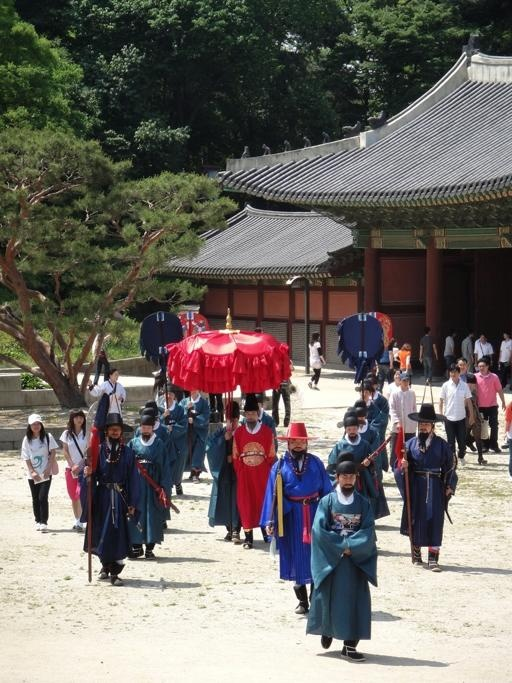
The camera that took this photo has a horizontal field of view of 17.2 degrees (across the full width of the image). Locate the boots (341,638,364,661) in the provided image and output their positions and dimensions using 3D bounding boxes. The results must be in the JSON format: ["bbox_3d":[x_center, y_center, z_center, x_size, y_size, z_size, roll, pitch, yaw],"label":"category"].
[{"bbox_3d":[0.870,2.860,15.504,0.231,0.195,0.097,-1,-2,34],"label":"boots"}]

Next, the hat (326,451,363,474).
[{"bbox_3d":[0.835,1.178,16.143,0.291,0.169,0.396,1,-2,12],"label":"hat"}]

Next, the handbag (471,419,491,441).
[{"bbox_3d":[3.122,1.241,23.517,0.229,0.507,0.356,-1,3,-2],"label":"handbag"}]

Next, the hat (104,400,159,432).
[{"bbox_3d":[-1.374,0.866,18.987,0.501,0.240,0.385,-2,0,-8],"label":"hat"}]

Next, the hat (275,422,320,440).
[{"bbox_3d":[0.469,0.942,16.779,0.320,0.136,0.363,6,-4,-30],"label":"hat"}]

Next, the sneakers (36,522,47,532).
[{"bbox_3d":[-2.468,2.168,19.400,0.125,0.063,0.068,10,1,38],"label":"sneakers"}]

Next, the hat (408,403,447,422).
[{"bbox_3d":[1.986,0.864,19.733,0.285,0.154,0.368,4,6,9],"label":"hat"}]

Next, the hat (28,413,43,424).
[{"bbox_3d":[-2.571,0.932,19.720,0.163,0.170,0.261,-1,-6,-12],"label":"hat"}]

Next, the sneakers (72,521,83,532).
[{"bbox_3d":[-2.058,2.175,19.407,0.129,0.167,0.354,1,-11,-7],"label":"sneakers"}]

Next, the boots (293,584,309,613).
[{"bbox_3d":[0.437,2.550,16.589,0.138,0.278,0.325,0,1,1],"label":"boots"}]

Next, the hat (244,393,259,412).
[{"bbox_3d":[-0.037,0.705,18.741,0.158,0.203,0.170,-1,2,-23],"label":"hat"}]

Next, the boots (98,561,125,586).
[{"bbox_3d":[-1.514,2.437,17.539,0.121,0.190,0.402,6,-15,-16],"label":"boots"}]

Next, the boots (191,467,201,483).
[{"bbox_3d":[-0.806,1.807,22.335,0.080,0.182,0.246,2,-11,0],"label":"boots"}]

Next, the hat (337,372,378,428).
[{"bbox_3d":[1.366,0.848,22.969,0.609,0.982,0.391,1,-16,-2],"label":"hat"}]

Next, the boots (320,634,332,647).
[{"bbox_3d":[0.645,2.824,15.756,0.090,0.140,0.185,0,1,-2],"label":"boots"}]

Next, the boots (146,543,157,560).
[{"bbox_3d":[-1.160,2.318,18.443,0.156,0.176,0.087,2,2,-38],"label":"boots"}]

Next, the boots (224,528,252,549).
[{"bbox_3d":[-0.181,2.257,19.064,0.132,0.314,0.417,-8,-20,37],"label":"boots"}]
